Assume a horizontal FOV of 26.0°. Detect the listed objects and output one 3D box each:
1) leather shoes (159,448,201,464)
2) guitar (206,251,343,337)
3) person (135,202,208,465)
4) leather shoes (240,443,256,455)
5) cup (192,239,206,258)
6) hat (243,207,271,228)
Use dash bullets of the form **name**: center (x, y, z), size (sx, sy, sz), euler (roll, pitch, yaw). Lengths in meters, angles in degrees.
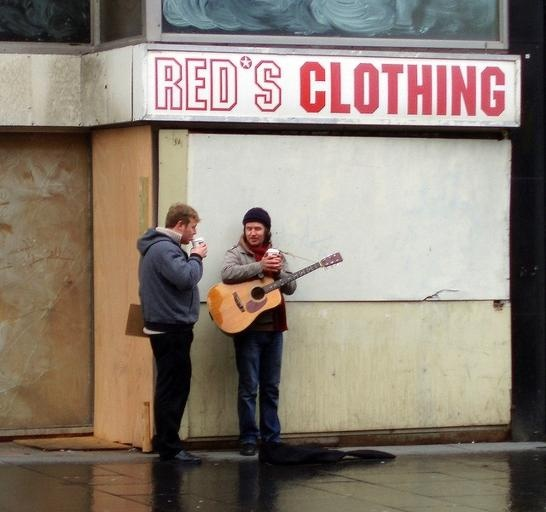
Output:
- **leather shoes**: center (-0.707, 1.513, 9.013), size (0.300, 0.132, 0.118), euler (-1, 1, 6)
- **guitar**: center (-0.001, 0.259, 9.143), size (1.091, 0.457, 0.161), euler (-22, -8, -10)
- **person**: center (-0.780, 0.571, 8.918), size (0.525, 1.960, 0.471), euler (2, -7, -7)
- **leather shoes**: center (-0.186, 1.520, 9.306), size (0.109, 0.081, 0.113), euler (-7, 0, -18)
- **cup**: center (-0.553, -0.062, 8.980), size (0.133, 0.153, 0.091), euler (0, -15, -1)
- **hat**: center (-0.120, -0.313, 9.393), size (0.136, 0.164, 0.187), euler (5, 8, 9)
